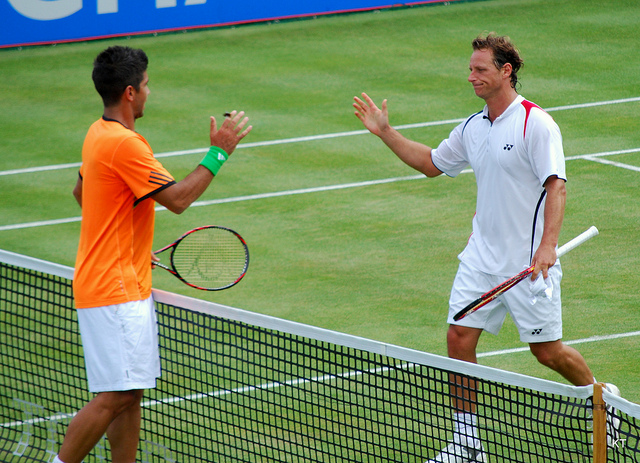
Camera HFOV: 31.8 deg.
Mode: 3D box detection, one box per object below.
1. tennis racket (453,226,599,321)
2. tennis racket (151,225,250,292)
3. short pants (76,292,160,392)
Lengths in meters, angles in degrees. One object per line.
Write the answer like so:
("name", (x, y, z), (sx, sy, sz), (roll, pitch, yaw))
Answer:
("tennis racket", (1.817, 0.398, 9.884), (1.206, 0.239, 0.123), (-29, 29, -6))
("tennis racket", (-0.989, 0.234, 9.664), (0.660, 0.679, 0.685), (-9, 14, -26))
("short pants", (-1.513, 0.847, 9.073), (0.522, 0.710, 0.804), (-4, -4, 12))
